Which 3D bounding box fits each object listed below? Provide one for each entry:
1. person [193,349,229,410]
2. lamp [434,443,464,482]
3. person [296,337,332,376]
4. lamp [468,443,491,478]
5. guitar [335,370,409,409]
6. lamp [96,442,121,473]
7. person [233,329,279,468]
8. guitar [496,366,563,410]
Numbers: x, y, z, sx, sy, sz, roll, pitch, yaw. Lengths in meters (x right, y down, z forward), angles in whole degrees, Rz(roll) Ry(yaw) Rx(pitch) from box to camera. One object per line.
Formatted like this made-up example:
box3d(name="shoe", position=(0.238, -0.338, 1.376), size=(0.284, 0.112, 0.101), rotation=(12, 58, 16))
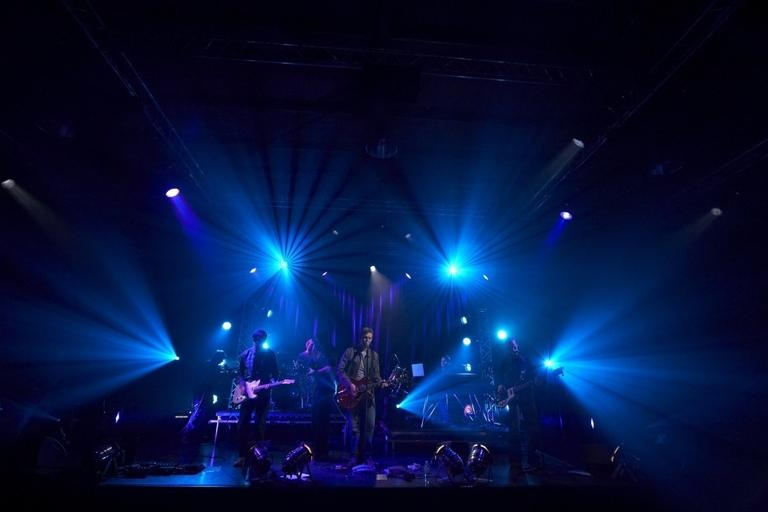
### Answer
box3d(name="person", position=(-3.618, 2.543, 11.581), size=(0.541, 1.173, 0.472), rotation=(15, -31, -25))
box3d(name="lamp", position=(1.128, 3.493, 9.512), size=(0.477, 0.611, 0.271), rotation=(-4, -28, 10))
box3d(name="person", position=(-1.488, 2.286, 12.018), size=(0.443, 0.826, 1.516), rotation=(9, -29, -16))
box3d(name="lamp", position=(1.631, 3.500, 9.534), size=(0.403, 0.566, 0.468), rotation=(-2, -28, 6))
box3d(name="guitar", position=(-0.286, 2.885, 12.011), size=(1.503, 0.588, 0.198), rotation=(-11, -17, -18))
box3d(name="lamp", position=(-4.902, 3.576, 9.896), size=(0.336, 0.414, 0.433), rotation=(-16, 3, -38))
box3d(name="person", position=(-2.530, 2.792, 10.865), size=(0.706, 2.180, 0.703), rotation=(11, -30, -19))
box3d(name="guitar", position=(3.014, 2.767, 11.662), size=(0.203, 0.524, 1.246), rotation=(19, -29, -17))
